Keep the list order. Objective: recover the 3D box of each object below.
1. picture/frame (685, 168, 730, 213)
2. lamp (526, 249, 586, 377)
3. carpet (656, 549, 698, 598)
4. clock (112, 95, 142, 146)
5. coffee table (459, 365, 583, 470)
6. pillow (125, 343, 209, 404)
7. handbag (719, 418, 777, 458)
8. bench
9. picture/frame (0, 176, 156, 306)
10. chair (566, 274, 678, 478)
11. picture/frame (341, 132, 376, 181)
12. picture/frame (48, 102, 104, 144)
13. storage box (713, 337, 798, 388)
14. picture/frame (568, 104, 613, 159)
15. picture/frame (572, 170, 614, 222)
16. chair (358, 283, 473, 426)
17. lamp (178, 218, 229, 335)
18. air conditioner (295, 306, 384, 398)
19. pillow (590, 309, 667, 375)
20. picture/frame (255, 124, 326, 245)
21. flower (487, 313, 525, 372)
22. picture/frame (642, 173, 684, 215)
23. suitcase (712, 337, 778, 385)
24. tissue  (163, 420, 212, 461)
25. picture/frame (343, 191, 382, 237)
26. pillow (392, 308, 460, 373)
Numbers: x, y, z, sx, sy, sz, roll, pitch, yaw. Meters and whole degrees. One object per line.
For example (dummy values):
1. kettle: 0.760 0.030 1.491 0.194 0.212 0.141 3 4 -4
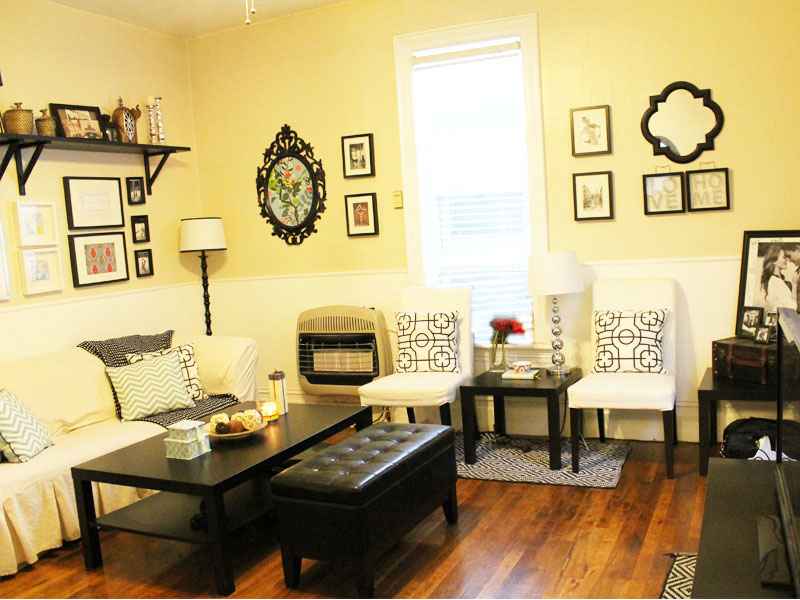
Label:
1. picture/frame: 2.113 -0.754 4.128 0.299 0.363 0.058 1 1 33
2. lamp: 1.136 0.013 4.366 0.355 0.761 0.360 -7 19 -9
3. carpet: 1.207 1.204 2.639 0.142 0.008 0.494 -2 4 19
4. clock: -2.239 -1.473 4.917 0.282 0.342 0.183 -22 32 -37
5. coffee table: 0.776 0.920 4.360 0.875 0.532 0.883 5 -12 -15
6. pillow: -1.617 0.543 4.385 0.131 0.421 0.441 -23 -11 32
7. handbag: 2.078 0.822 3.622 0.312 0.142 0.423 -4 3 21
8. bench: -0.167 1.033 2.991 0.596 0.603 1.081 -1 9 26
9. picture/frame: -2.453 -0.509 4.610 0.075 0.860 0.922 0 8 26
10. chair: 1.513 0.483 4.089 0.647 1.194 0.827 0 8 25
11. picture/frame: -0.334 -1.203 5.031 0.390 0.479 0.032 1 7 21
12. picture/frame: -2.428 -1.310 4.493 0.032 0.303 0.419 -11 -1 34
13. storage box: 1.887 0.343 3.228 0.267 0.197 0.371 -6 8 -40
14. picture/frame: 1.392 -1.227 4.374 0.376 0.471 0.031 3 10 28
15. picture/frame: 1.417 -0.764 4.401 0.355 0.444 0.045 1 7 27
16. chair: 0.167 0.496 4.455 0.685 1.101 0.816 -2 2 10
17. lamp: -1.742 -0.197 5.457 0.412 1.080 0.508 -6 8 -19
18. air conditioner: -0.478 0.425 5.076 0.805 0.752 0.330 -2 0 22
19. pillow: 1.577 0.299 4.176 0.476 0.468 0.178 -2 -15 27
20. picture/frame: -0.937 -1.048 5.307 0.966 1.387 0.066 4 10 29
21. flower: 0.738 0.323 4.641 0.341 0.476 0.393 2 1 -1
22. picture/frame: 1.857 -0.750 4.235 0.286 0.318 0.023 1 4 31
23. suitcase: 2.289 0.357 3.934 0.384 0.244 0.385 4 21 37
24. tissue : -1.131 0.749 3.222 0.165 0.166 0.177 0 6 24
25. picture/frame: -0.302 -0.725 5.068 0.363 0.427 0.030 3 10 26
26. pillow: 0.214 0.307 4.487 0.460 0.429 0.162 0 -5 18
